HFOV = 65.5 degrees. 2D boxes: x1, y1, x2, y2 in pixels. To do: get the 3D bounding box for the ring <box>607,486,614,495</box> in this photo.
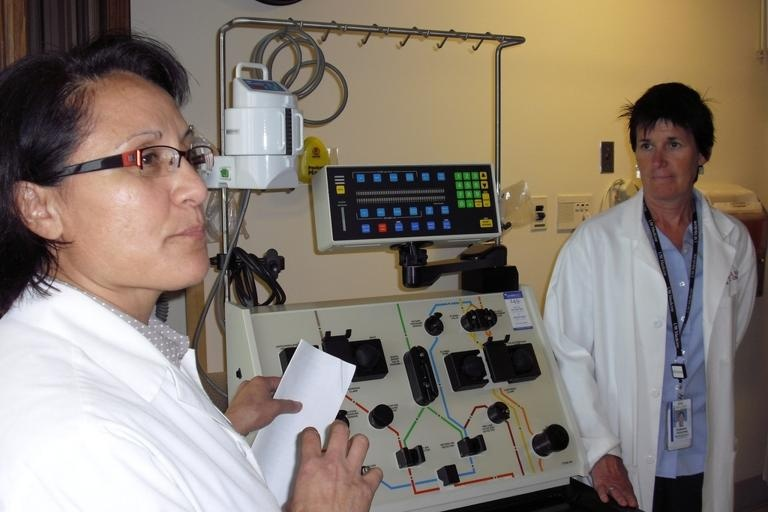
[{"bbox_3d":[0.684,0.705,1.799,0.013,0.019,0.006,0,-8,12],"label":"ring"}]
